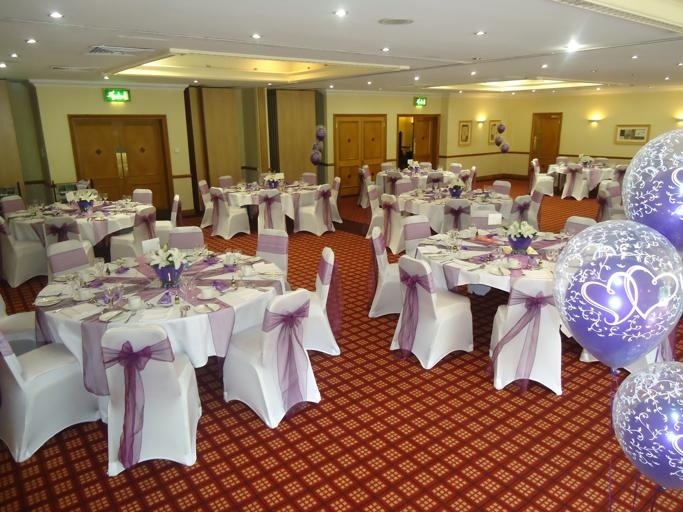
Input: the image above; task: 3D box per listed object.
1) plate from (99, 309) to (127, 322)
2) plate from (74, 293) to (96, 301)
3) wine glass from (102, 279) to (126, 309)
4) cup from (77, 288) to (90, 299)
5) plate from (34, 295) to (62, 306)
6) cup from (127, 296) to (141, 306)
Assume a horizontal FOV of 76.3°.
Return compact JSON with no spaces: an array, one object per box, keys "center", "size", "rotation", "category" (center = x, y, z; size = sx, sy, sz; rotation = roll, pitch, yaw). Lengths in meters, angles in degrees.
[{"center":[-1.987,0.506,3.775],"size":[0.197,0.026,0.211],"rotation":[5,18,24],"category":"plate"},{"center":[-2.408,0.371,4.096],"size":[0.172,0.074,0.098],"rotation":[-12,19,-30],"category":"plate"},{"center":[-2.162,0.358,4.151],"size":[0.251,0.382,0.242],"rotation":[5,-2,-33],"category":"wine glass"},{"center":[-2.424,0.340,4.130],"size":[0.097,0.072,0.100],"rotation":[-1,7,0],"category":"cup"},{"center":[-2.740,0.415,4.101],"size":[0.233,0.037,0.233],"rotation":[-8,17,-20],"category":"plate"},{"center":[-1.838,0.392,3.864],"size":[0.072,0.067,0.095],"rotation":[3,1,38],"category":"cup"}]
